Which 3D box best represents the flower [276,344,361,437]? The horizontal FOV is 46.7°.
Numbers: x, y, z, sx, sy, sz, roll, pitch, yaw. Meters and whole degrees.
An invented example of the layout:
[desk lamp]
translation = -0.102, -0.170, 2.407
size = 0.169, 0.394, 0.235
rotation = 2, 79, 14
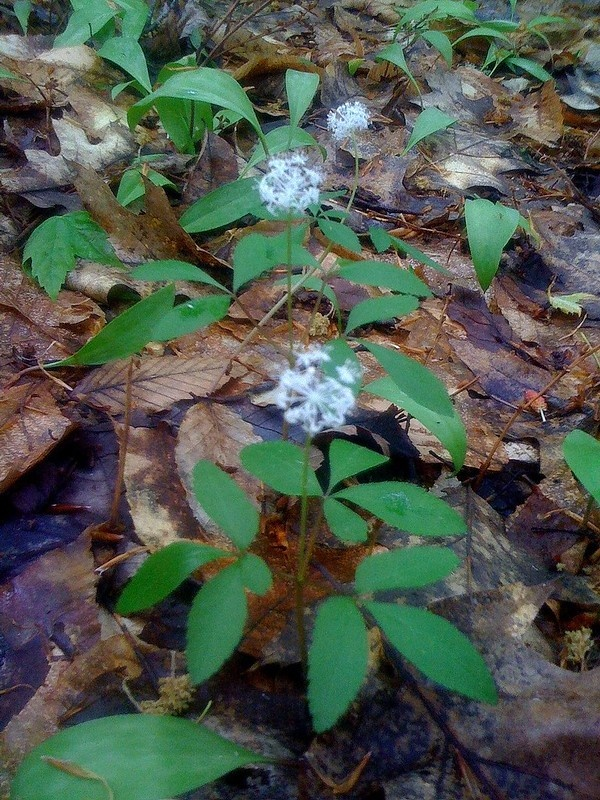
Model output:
[flower]
translation = 0.048, -0.024, 1.744
size = 0.192, 0.177, 0.274
rotation = 9, 41, 3
